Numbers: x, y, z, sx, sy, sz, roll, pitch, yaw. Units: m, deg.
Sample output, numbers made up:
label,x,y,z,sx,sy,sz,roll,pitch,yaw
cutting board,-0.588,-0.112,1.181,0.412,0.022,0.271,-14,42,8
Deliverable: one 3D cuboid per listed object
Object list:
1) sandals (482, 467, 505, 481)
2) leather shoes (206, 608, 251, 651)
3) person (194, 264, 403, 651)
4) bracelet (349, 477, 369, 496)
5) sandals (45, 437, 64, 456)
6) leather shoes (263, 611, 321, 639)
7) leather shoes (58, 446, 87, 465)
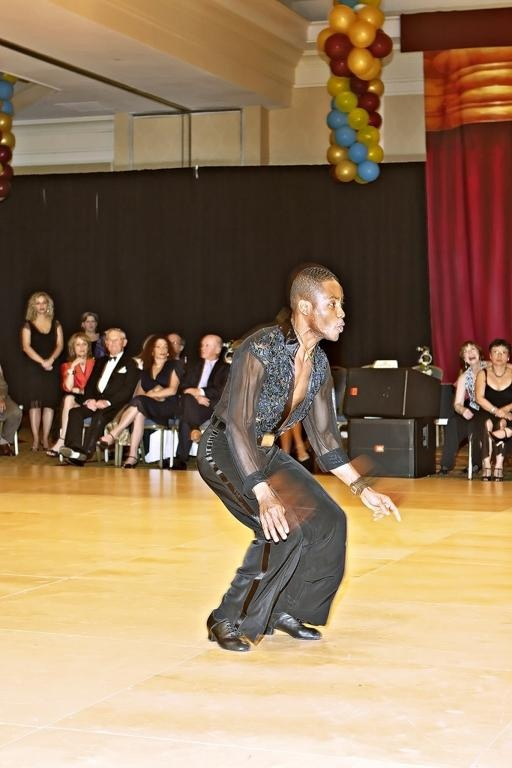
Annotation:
label,x,y,z,sx,sy,sz,roll,pitch,yaw
sandals,2.355,0.907,6.266,0.103,0.070,0.279,-1,-4,6
leather shoes,-0.088,0.741,1.909,0.055,0.061,0.154,-9,11,-31
person,0.099,0.218,1.952,0.530,1.148,0.567,3,-14,-14
bracelet,0.332,0.328,2.002,0.046,0.030,0.057,-11,11,0
sandals,-2.436,0.773,7.674,0.180,0.225,0.569,4,-9,-1
leather shoes,0.119,0.783,2.024,0.184,0.083,0.063,7,-1,17
leather shoes,-2.124,0.832,7.262,0.327,0.177,0.113,23,6,-1
